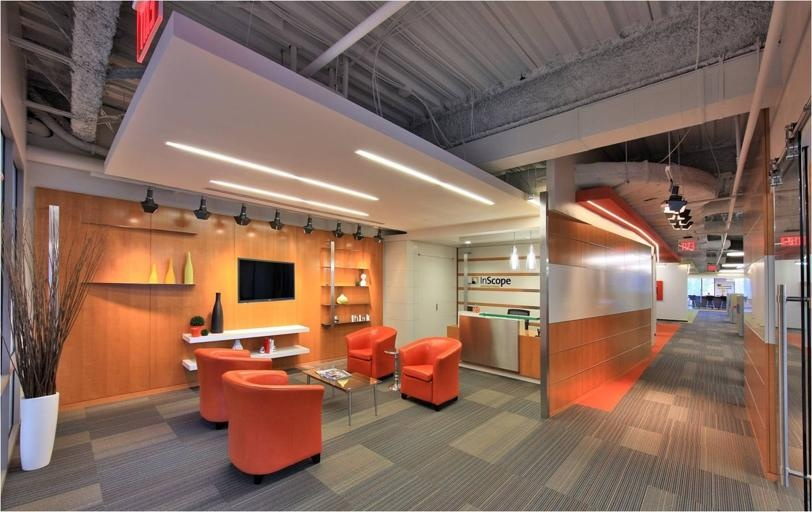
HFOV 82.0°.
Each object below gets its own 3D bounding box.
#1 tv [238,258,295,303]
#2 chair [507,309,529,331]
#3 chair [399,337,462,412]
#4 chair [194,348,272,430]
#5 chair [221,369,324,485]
[{"bbox_3d":[-3.126,0.547,10.333,0.036,0.672,1.073,-3,-4,41],"label":"tv"},{"bbox_3d":[2.571,1.428,10.592,0.453,0.417,1.015,-3,-6,11],"label":"chair"},{"bbox_3d":[0.508,2.214,9.153,1.206,1.052,1.076,1,2,36],"label":"chair"},{"bbox_3d":[-3.113,2.260,8.353,1.296,1.113,1.325,5,-4,-38],"label":"chair"},{"bbox_3d":[-2.081,2.529,7.425,1.606,1.257,1.686,1,-2,-15],"label":"chair"}]
